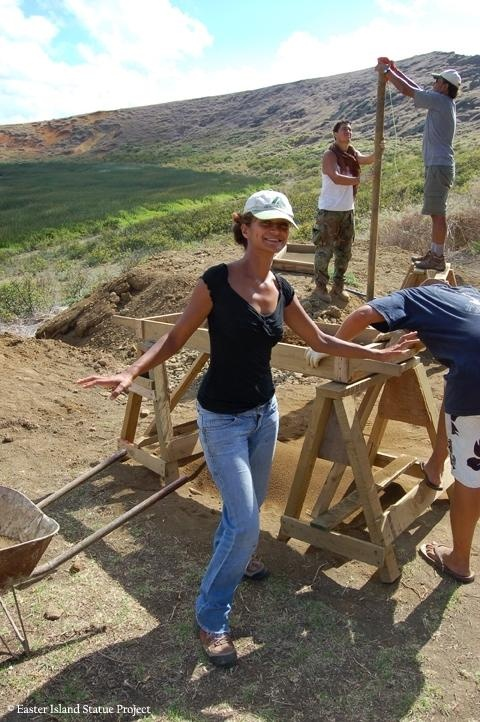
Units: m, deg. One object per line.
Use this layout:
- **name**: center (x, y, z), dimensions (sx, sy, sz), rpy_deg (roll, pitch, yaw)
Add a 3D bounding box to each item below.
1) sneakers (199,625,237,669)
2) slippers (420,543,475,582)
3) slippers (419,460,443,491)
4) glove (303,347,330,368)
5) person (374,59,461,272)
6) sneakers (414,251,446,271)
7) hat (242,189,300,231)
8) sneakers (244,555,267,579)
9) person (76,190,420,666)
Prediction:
- **sneakers**: center (-0.118, 1.381, 2.625), dimensions (0.106, 0.090, 0.216), rpy_deg (5, -1, -36)
- **slippers**: center (1.302, 1.259, 3.428), dimensions (0.133, 0.072, 0.272), rpy_deg (-16, 25, -17)
- **slippers**: center (1.296, 0.802, 3.655), dimensions (0.092, 0.262, 0.095), rpy_deg (-11, -5, 35)
- **glove**: center (0.465, -0.028, 3.357), dimensions (0.134, 0.113, 0.233), rpy_deg (-8, 11, -43)
- **person**: center (2.007, -2.277, 6.283), dimensions (0.950, 2.305, 0.949), rpy_deg (4, 15, 27)
- **sneakers**: center (2.222, -1.157, 6.313), dimensions (0.298, 0.151, 0.305), rpy_deg (6, 9, 7)
- **hat**: center (0.134, -0.678, 2.443), dimensions (0.187, 0.138, 0.246), rpy_deg (4, 12, -22)
- **sneakers**: center (0.085, 1.284, 3.348), dimensions (0.100, 0.142, 0.155), rpy_deg (0, -10, -1)
- **person**: center (-0.067, 0.331, 2.601), dimensions (0.569, 2.238, 1.222), rpy_deg (11, 16, 33)
